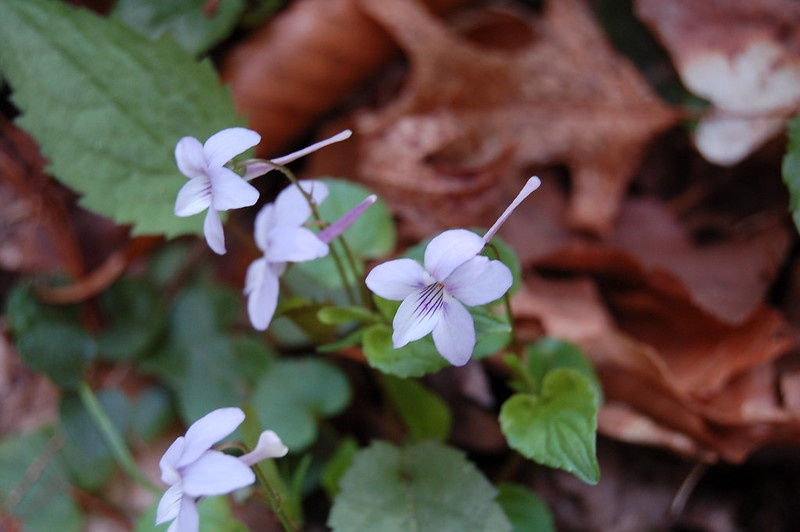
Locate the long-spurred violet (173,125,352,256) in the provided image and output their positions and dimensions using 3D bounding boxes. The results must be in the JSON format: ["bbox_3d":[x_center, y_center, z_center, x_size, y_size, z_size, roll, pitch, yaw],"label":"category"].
[{"bbox_3d":[-0.364,-0.255,1.945,0.415,0.306,0.118,-25,61,-28],"label":"long-spurred violet"}]

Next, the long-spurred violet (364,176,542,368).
[{"bbox_3d":[0.144,0.015,1.955,0.317,0.131,0.556,39,42,10],"label":"long-spurred violet"}]

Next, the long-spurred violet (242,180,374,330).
[{"bbox_3d":[-0.198,0.013,2.111,0.379,0.166,0.404,7,68,54],"label":"long-spurred violet"}]
